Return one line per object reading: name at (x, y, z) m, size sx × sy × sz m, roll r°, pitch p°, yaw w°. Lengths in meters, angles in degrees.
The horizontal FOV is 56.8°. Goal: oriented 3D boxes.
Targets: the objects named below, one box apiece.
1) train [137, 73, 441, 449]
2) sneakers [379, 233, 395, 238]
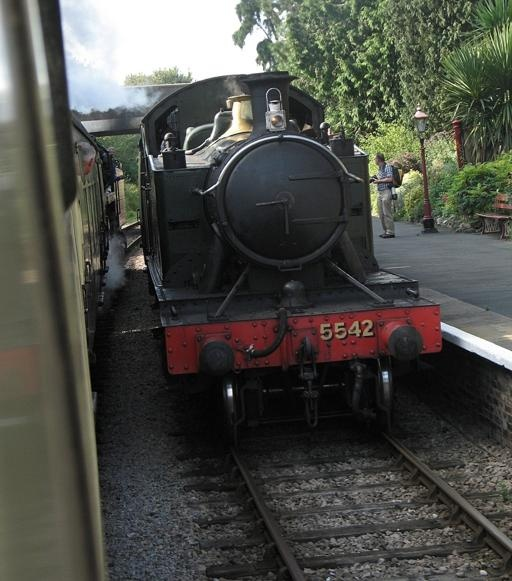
train at (0.179, -0.600, 5.928) m, size 2.929 × 4.310 × 3.276 m, roll -6°, pitch 9°, yaw -13°
sneakers at (4.207, -1.720, 15.092) m, size 0.519 × 0.198 × 0.179 m, roll 3°, pitch 11°, yaw -23°
